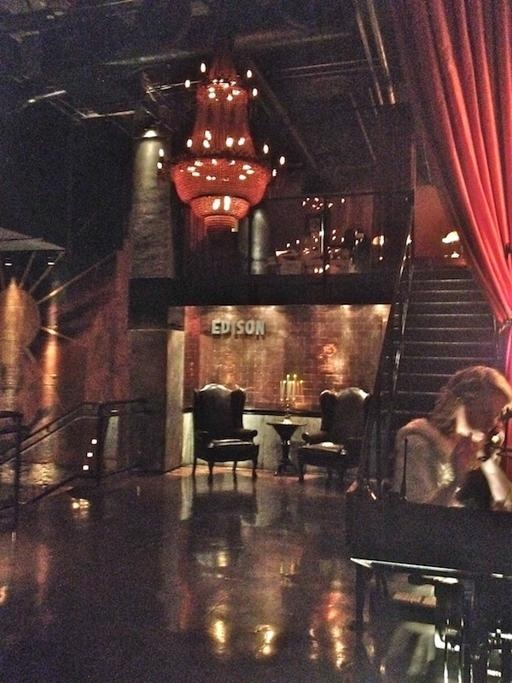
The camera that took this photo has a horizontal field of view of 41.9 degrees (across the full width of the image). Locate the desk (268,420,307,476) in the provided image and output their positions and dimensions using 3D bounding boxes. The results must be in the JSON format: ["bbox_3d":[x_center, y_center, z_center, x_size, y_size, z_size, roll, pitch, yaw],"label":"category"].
[{"bbox_3d":[0.370,1.297,8.187,0.410,0.623,0.469,-2,-5,1],"label":"desk"}]

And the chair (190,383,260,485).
[{"bbox_3d":[-0.397,1.015,8.031,0.754,1.084,0.794,-7,-9,42],"label":"chair"}]

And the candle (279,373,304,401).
[{"bbox_3d":[0.465,0.580,8.643,0.307,0.420,0.321,0,0,14],"label":"candle"}]

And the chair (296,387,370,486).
[{"bbox_3d":[0.943,1.083,7.746,0.756,1.099,0.779,6,-4,-31],"label":"chair"}]
